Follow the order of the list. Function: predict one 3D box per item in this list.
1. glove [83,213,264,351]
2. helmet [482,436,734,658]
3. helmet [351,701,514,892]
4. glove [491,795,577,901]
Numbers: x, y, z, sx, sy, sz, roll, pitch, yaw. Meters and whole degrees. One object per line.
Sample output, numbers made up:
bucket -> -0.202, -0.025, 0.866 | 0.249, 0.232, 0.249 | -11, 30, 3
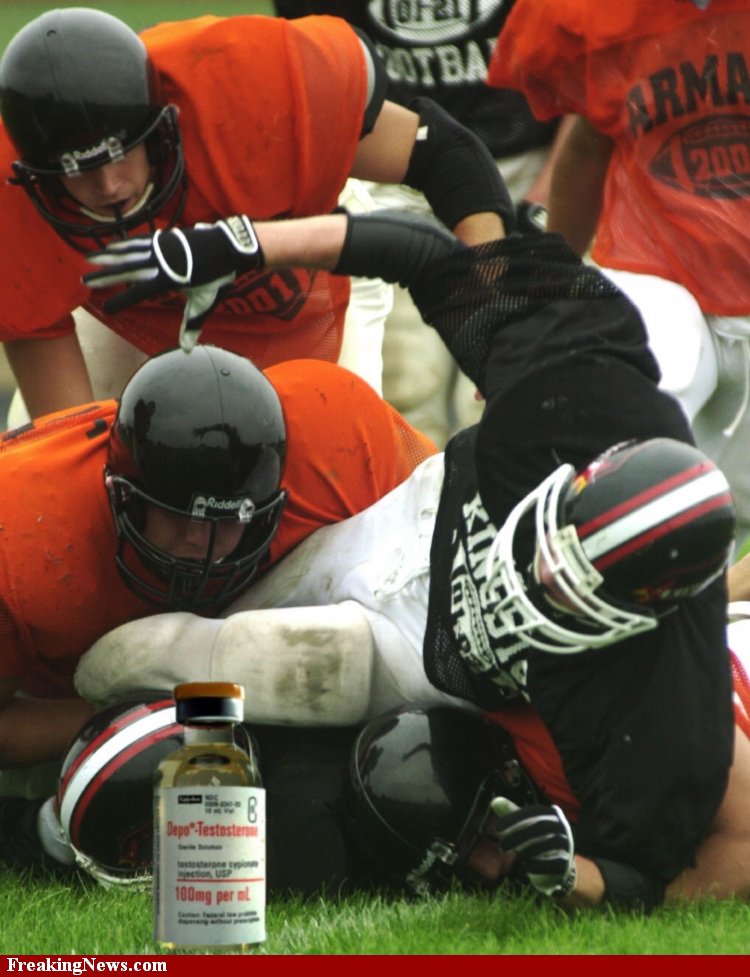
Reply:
glove -> -0.217, -0.224, 1.214 | 0.198, 0.135, 0.111 | -4, 49, -13
helmet -> 0.218, 0.046, 1.116 | 0.264, 0.159, 0.175 | -24, 91, -13
helmet -> 0.058, 0.349, 1.238 | 0.166, 0.171, 0.152 | 9, 47, -1
glove -> 0.162, 0.352, 1.119 | 0.107, 0.075, 0.043 | 36, 48, 30
